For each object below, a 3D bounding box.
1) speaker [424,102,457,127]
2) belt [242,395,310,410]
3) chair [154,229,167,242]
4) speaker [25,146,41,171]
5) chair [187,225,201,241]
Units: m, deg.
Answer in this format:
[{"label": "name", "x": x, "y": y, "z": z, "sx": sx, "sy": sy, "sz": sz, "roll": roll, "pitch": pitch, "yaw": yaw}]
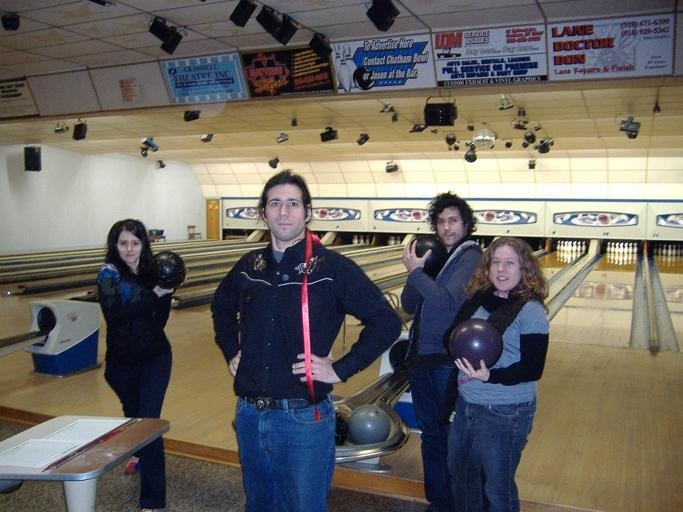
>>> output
[{"label": "speaker", "x": 1.041, "y": -1.516, "z": 5.168, "sx": 0.406, "sy": 0.275, "sz": 0.395, "roll": 2, "pitch": 4, "yaw": 19}, {"label": "belt", "x": -0.218, "y": 0.543, "z": 1.710, "sx": 0.210, "sy": 0.053, "sz": 0.028, "roll": 1, "pitch": 10, "yaw": 6}, {"label": "chair", "x": -5.064, "y": -0.574, "z": 13.109, "sx": 0.271, "sy": 0.266, "sz": 0.426, "roll": 1, "pitch": -1, "yaw": -19}, {"label": "speaker", "x": -6.583, "y": -2.104, "z": 10.005, "sx": 0.296, "sy": 0.519, "sz": 0.356, "roll": -7, "pitch": 12, "yaw": -32}, {"label": "chair", "x": -4.743, "y": -0.752, "z": 14.961, "sx": 0.468, "sy": 0.609, "sz": 0.448, "roll": -1, "pitch": -1, "yaw": -38}]
